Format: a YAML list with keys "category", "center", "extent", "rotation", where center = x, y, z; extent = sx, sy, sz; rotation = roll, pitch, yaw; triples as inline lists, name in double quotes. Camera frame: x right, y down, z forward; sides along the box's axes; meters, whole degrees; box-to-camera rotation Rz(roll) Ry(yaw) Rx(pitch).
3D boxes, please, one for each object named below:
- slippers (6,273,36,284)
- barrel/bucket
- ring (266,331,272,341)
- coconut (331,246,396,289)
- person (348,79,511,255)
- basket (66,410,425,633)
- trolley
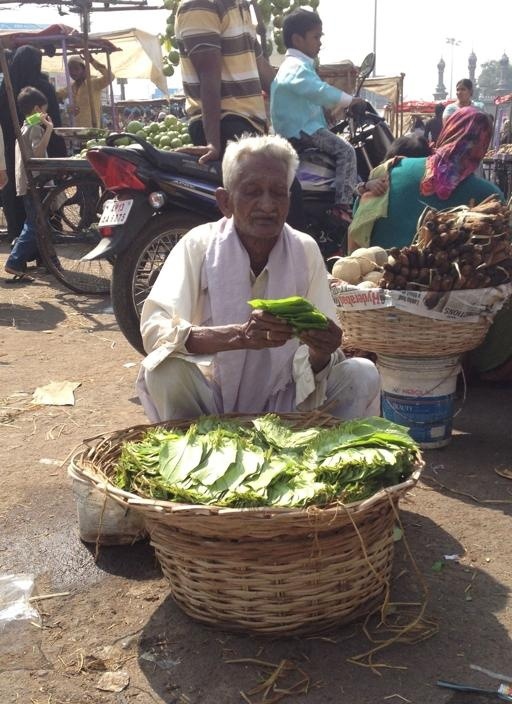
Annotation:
- category: "slippers"
  center: [-2.376, -0.720, 6.469]
  extent: [0.157, 0.118, 0.362]
  rotation: [2, 5, 32]
- category: "barrel/bucket"
  center: [0.749, 0.200, 3.141]
  extent: [0.525, 0.465, 0.449]
  rotation: [0, 4, 16]
- category: "ring"
  center: [0.040, -0.048, 1.964]
  extent: [0.017, 0.032, 0.023]
  rotation: [0, 15, 1]
- category: "coconut"
  center: [0.538, -0.402, 3.123]
  extent: [0.323, 0.241, 0.306]
  rotation: [-3, 10, -20]
- category: "person"
  center: [0.854, -0.855, 3.301]
  extent: [0.919, 0.845, 0.388]
  rotation: [6, 18, 20]
- category: "basket"
  center: [-0.055, 0.510, 1.836]
  extent: [0.887, 0.452, 0.610]
  rotation: [8, 16, 32]
- category: "trolley"
  center: [-1.525, -1.277, 6.492]
  extent: [1.571, 1.282, 1.232]
  rotation: [-6, 23, -25]
